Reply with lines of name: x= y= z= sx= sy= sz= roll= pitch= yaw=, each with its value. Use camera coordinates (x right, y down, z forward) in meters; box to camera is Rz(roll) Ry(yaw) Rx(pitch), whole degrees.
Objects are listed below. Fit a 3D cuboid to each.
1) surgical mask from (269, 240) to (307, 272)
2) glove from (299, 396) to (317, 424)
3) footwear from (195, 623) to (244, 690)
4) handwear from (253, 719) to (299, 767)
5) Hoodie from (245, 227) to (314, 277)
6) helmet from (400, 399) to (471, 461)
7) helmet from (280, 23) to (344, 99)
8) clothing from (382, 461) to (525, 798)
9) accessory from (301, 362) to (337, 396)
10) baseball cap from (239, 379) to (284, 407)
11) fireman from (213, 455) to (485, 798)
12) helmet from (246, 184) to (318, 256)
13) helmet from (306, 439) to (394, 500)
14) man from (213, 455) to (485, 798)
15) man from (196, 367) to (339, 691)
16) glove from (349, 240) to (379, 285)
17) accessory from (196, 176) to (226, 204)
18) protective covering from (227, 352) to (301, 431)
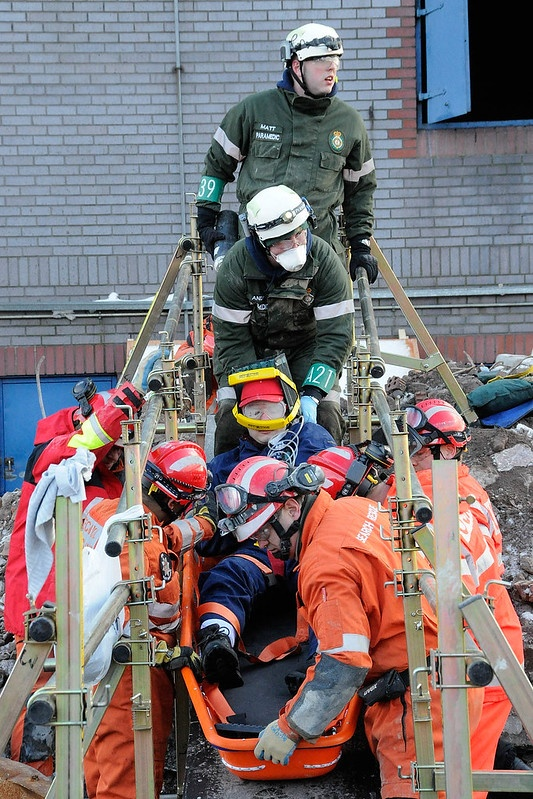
surgical mask: x=0.124 y=-0.672 z=6.198 sx=0.121 sy=0.093 sz=0.153 roll=-11 pitch=36 yaw=-15
glove: x=0.200 y=0.055 z=6.339 sx=0.057 sy=0.113 sz=0.085 roll=-16 pitch=-32 yaw=28
footwear: x=-0.200 y=0.998 z=5.143 sx=0.103 sy=0.311 sz=0.145 roll=-19 pitch=24 yaw=-17
handwear: x=0.034 y=1.233 z=4.692 sx=0.160 sy=0.162 sz=0.113 roll=-5 pitch=-8 yaw=0
Hoodie: x=0.004 y=-0.710 z=6.427 sx=0.204 sy=0.261 sz=0.134 roll=-16 pitch=28 yaw=-4
helmet: x=0.746 y=0.111 z=5.665 sx=0.274 sy=0.253 sz=0.222 roll=-8 pitch=10 yaw=-9
helmet: x=0.251 y=-1.760 z=6.711 sx=0.327 sy=0.396 sz=0.320 roll=19 pitch=38 yaw=33
clothing: x=0.648 y=0.860 z=4.684 sx=0.511 sy=1.609 sz=0.510 roll=-7 pitch=-44 yaw=18
accessory: x=0.276 y=-0.110 z=6.539 sx=0.148 sy=0.158 sz=0.163 roll=5 pitch=-43 yaw=26
baseball cap: x=-0.025 y=-0.033 z=6.008 sx=0.116 sy=0.164 sz=0.154 roll=-13 pitch=3 yaw=9
fireman: x=0.308 y=0.873 z=4.821 sx=0.594 sy=1.420 sz=0.561 roll=-22 pitch=-32 yaw=14
helmet: x=0.048 y=-0.866 z=6.228 sx=0.253 sy=0.256 sz=0.289 roll=-36 pitch=6 yaw=-23
helmet: x=0.395 y=0.292 z=5.777 sx=0.247 sy=0.155 sz=0.319 roll=2 pitch=7 yaw=22
man: x=0.308 y=0.873 z=4.821 sx=0.594 sy=1.420 sz=0.561 roll=-22 pitch=-32 yaw=14
man: x=-0.053 y=0.502 z=5.767 sx=0.777 sy=1.084 sz=1.550 roll=-2 pitch=15 yaw=9
glove: x=0.540 y=-0.765 z=7.136 sx=0.162 sy=0.255 sz=0.073 roll=16 pitch=-55 yaw=-23
accessory: x=-0.319 y=-1.152 z=7.191 sx=0.143 sy=0.161 sz=0.147 roll=11 pitch=10 yaw=-8
protective covering: x=0.024 y=-0.015 z=6.121 sx=0.268 sy=0.371 sz=0.370 roll=-12 pitch=-12 yaw=19
